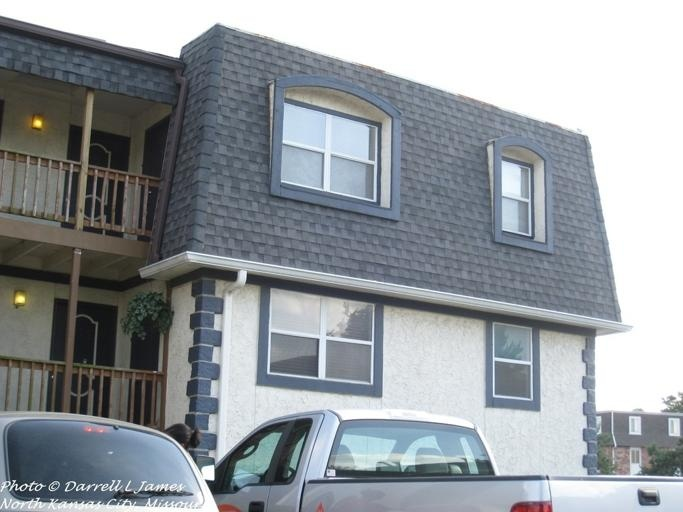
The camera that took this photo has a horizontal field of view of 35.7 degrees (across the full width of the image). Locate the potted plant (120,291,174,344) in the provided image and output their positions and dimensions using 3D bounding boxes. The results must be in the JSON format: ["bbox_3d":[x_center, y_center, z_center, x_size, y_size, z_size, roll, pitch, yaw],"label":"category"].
[{"bbox_3d":[-3.262,1.035,17.892,0.843,0.453,0.854,0,-48,-12],"label":"potted plant"}]

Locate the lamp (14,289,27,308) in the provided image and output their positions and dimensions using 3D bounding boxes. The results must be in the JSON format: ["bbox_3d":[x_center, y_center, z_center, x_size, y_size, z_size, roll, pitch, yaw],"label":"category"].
[{"bbox_3d":[-5.667,0.746,18.722,0.240,0.313,0.153,9,-9,-25],"label":"lamp"}]
